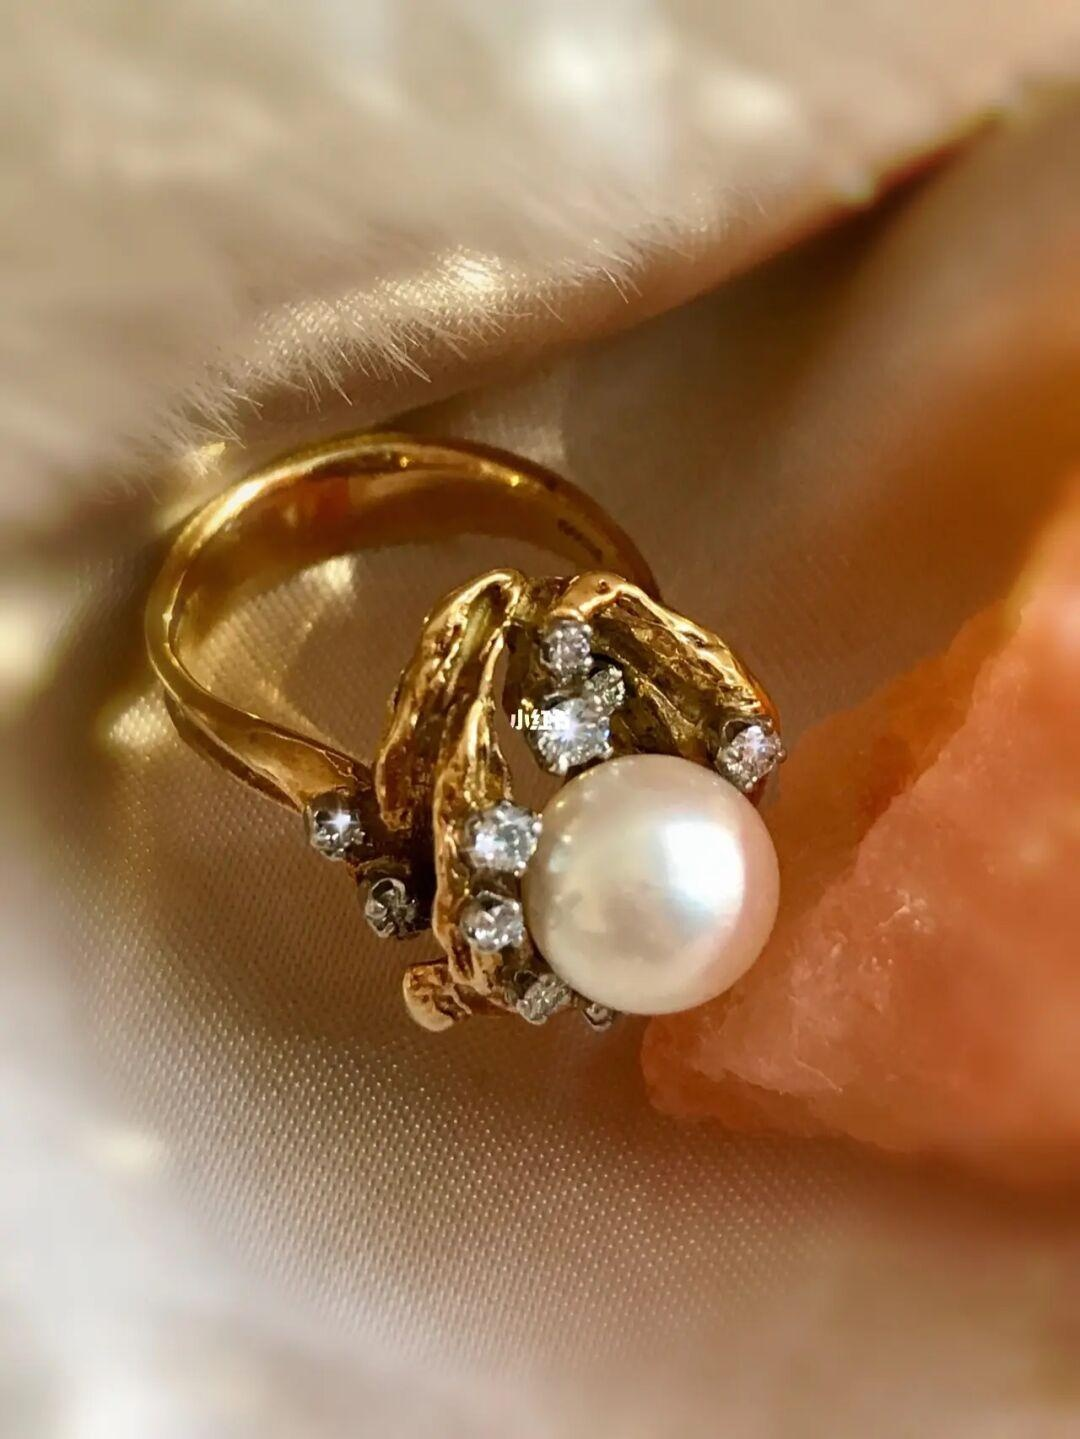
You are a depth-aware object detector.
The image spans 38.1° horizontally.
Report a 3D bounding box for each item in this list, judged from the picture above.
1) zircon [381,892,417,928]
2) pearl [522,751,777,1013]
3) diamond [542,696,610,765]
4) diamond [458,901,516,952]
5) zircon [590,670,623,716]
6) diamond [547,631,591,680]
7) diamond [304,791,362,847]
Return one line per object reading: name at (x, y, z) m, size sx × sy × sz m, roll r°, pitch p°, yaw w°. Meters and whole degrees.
zircon at (-0.067, 0.092, 0.755) m, size 0.007 × 0.014 × 0.017 m, roll -27°, pitch 122°, yaw -22°
pearl at (0.053, 0.075, 0.727) m, size 0.118 × 0.056 × 0.121 m, roll 14°, pitch 79°, yaw 0°
diamond at (0.015, 0.007, 0.765) m, size 0.038 × 0.018 × 0.032 m, roll 22°, pitch 85°, yaw -2°
diamond at (-0.023, 0.096, 0.730) m, size 0.028 × 0.038 × 0.026 m, roll -3°, pitch 80°, yaw -3°
zircon at (0.034, -0.012, 0.785) m, size 0.020 × 0.012 × 0.021 m, roll 16°, pitch 68°, yaw -27°
diamond at (0.014, -0.032, 0.759) m, size 0.022 × 0.008 × 0.021 m, roll -14°, pitch 113°, yaw -17°
diamond at (-0.105, 0.049, 0.748) m, size 0.024 × 0.011 × 0.026 m, roll -5°, pitch 77°, yaw -7°
